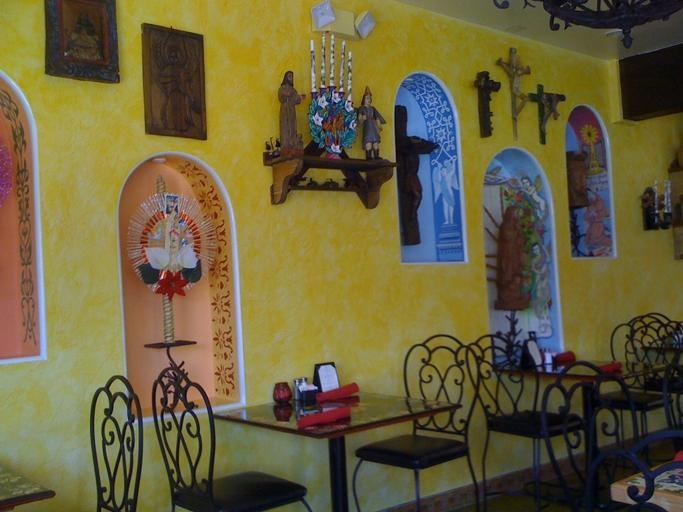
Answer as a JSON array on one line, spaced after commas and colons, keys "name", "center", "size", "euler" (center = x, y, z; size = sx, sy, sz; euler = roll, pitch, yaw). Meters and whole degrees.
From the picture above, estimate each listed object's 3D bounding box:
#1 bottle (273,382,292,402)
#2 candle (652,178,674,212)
[{"name": "bottle", "center": [-0.368, 0.833, 5.163], "size": [0.104, 0.106, 0.108], "euler": [0, -3, -13]}, {"name": "candle", "center": [2.926, -0.553, 7.592], "size": [0.219, 0.307, 0.105], "euler": [7, -17, -8]}]
